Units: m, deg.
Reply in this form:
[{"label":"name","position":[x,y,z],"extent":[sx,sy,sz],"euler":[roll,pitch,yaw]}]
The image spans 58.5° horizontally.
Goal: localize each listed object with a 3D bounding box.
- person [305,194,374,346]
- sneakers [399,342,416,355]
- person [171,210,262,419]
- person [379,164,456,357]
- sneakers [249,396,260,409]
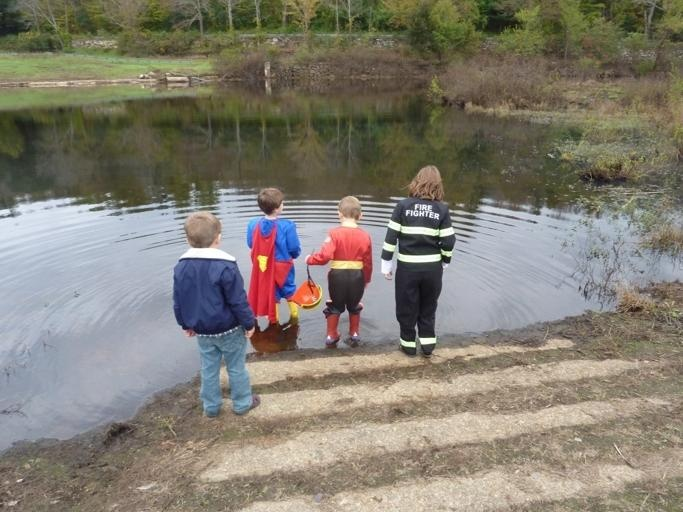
[{"label":"person","position":[-0.004,0.244,9.104],"extent":[0.914,2.248,0.518],"euler":[-9,21,-17]},{"label":"sneakers","position":[0.977,1.364,8.857],"extent":[0.106,0.113,0.252],"euler":[-5,15,-22]},{"label":"person","position":[-1.560,0.774,7.605],"extent":[0.953,2.519,0.529],"euler":[-3,20,-2]},{"label":"person","position":[1.064,0.164,8.590],"extent":[0.894,2.598,0.599],"euler":[-13,23,-28]},{"label":"sneakers","position":[-1.119,1.916,7.943],"extent":[0.056,0.121,0.174],"euler":[5,30,8]}]
